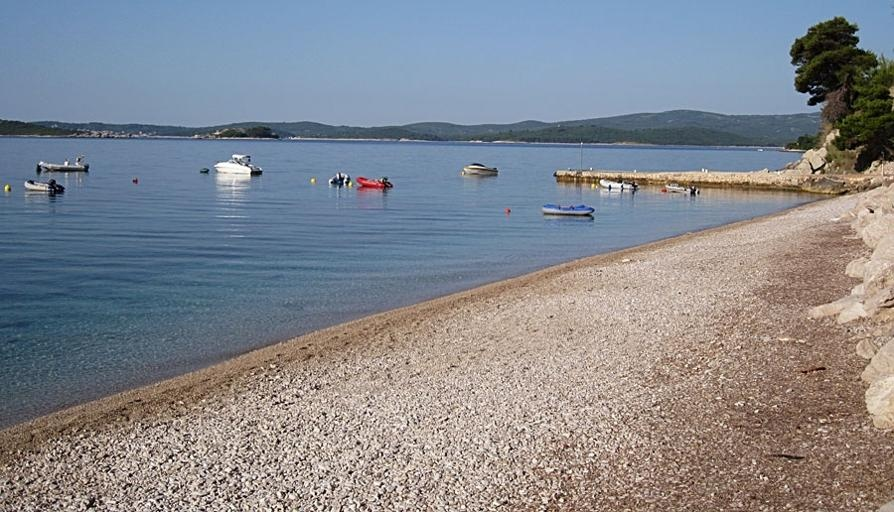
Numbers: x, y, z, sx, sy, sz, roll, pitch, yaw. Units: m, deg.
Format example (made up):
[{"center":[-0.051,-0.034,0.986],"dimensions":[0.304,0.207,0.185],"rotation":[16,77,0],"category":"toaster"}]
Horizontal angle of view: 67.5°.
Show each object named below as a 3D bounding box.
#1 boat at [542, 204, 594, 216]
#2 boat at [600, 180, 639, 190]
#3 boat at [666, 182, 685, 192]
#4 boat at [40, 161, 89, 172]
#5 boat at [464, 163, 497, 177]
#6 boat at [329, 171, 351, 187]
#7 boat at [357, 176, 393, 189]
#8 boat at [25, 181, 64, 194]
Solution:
[{"center":[10.793,-3.929,58.032],"dimensions":[3.244,0.789,3.731],"rotation":[-7,11,-40],"category":"boat"},{"center":[21.656,-8.842,84.832],"dimensions":[2.238,1.023,4.972],"rotation":[-3,9,-21],"category":"boat"},{"center":[27.319,-7.929,79.476],"dimensions":[1.615,0.678,2.933],"rotation":[0,9,-5],"category":"boat"},{"center":[-54.095,-12.466,94.530],"dimensions":[8.334,1.293,4.662],"rotation":[8,11,39],"category":"boat"},{"center":[5.657,-13.794,108.098],"dimensions":[5.229,1.546,2.958],"rotation":[1,3,-24],"category":"boat"},{"center":[-13.397,-9.557,85.647],"dimensions":[2.620,1.189,3.296],"rotation":[4,9,2],"category":"boat"},{"center":[-8.795,-8.792,81.366],"dimensions":[3.769,1.053,2.228],"rotation":[12,13,37],"category":"boat"},{"center":[-40.114,-6.781,66.181],"dimensions":[4.770,1.044,1.716],"rotation":[9,10,36],"category":"boat"}]
